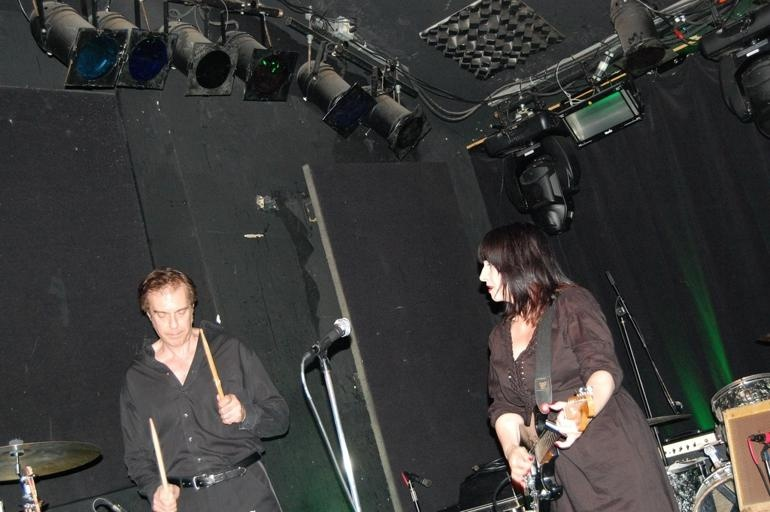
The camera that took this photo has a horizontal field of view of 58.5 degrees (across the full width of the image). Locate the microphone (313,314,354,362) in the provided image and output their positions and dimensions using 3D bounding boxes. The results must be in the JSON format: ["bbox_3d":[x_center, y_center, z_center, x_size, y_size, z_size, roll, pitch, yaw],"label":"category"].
[{"bbox_3d":[-0.397,0.614,5.112,0.183,0.190,0.428,4,27,43],"label":"microphone"}]

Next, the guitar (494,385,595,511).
[{"bbox_3d":[0.917,1.068,3.788,0.284,0.770,0.474,2,2,-5],"label":"guitar"}]
